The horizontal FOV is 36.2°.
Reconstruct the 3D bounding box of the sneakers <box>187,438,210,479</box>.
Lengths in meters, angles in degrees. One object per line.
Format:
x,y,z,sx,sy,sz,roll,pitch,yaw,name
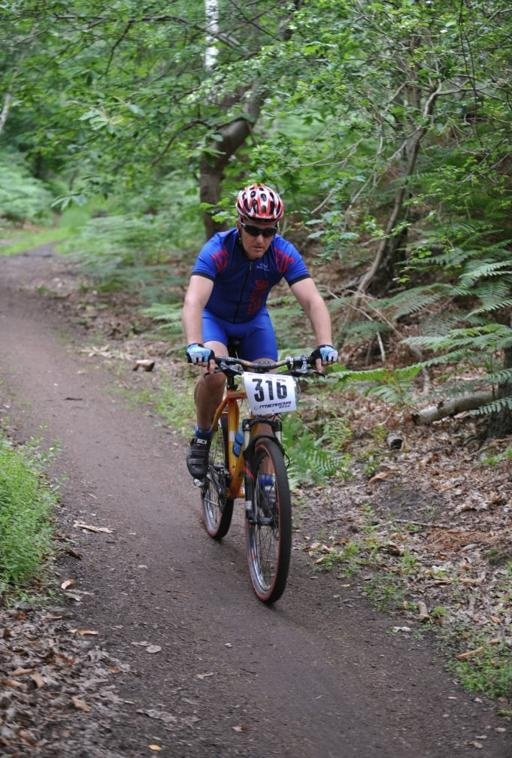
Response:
-0.435,0.611,5.927,0.142,0.351,0.157,3,-22,-10,sneakers

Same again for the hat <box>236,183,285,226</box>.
0.023,-1.108,5.012,0.232,0.150,0.303,1,20,-12,hat

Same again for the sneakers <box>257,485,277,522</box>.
0.066,0.784,4.856,0.084,0.199,0.151,2,6,-11,sneakers

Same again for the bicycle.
-0.026,0.560,5.235,0.667,1.643,1.488,9,11,-5,bicycle

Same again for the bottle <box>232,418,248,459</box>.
-0.113,0.422,5.288,0.084,0.211,0.162,9,-2,-25,bottle
